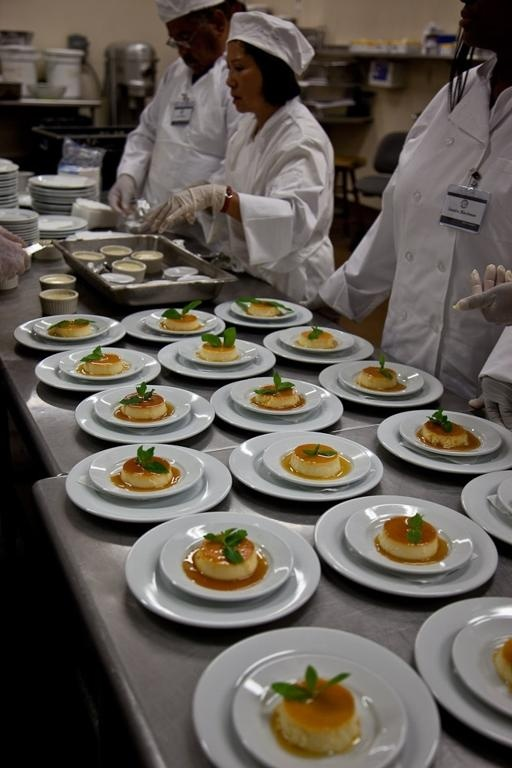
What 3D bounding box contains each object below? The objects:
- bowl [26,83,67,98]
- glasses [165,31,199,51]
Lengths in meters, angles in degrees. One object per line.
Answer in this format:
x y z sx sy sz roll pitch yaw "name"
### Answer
-1.636 -2.260 4.575 0.286 0.119 0.237 0 17 -20 "bowl"
-0.282 -1.440 2.478 0.176 0.048 0.167 -26 42 -30 "glasses"
